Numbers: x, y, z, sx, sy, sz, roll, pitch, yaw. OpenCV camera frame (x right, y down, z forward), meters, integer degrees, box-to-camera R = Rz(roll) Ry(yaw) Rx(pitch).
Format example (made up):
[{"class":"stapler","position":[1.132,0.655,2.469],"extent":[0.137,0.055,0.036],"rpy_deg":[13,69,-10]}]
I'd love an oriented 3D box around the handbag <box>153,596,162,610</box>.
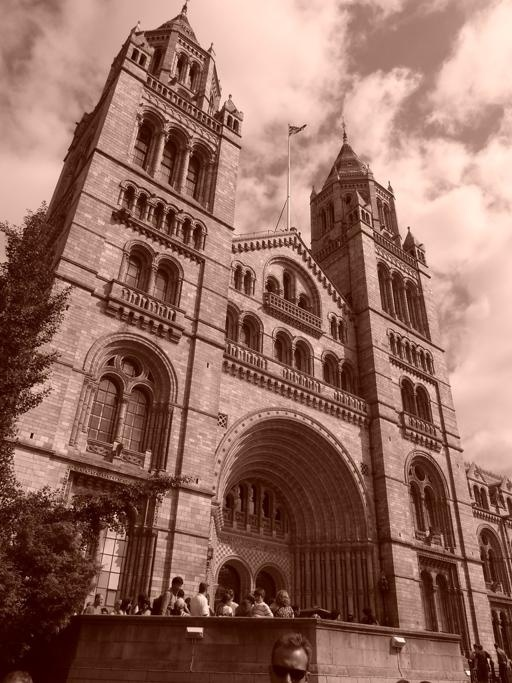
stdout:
[{"class":"handbag","position":[-2.059,5.531,11.171],"extent":[0.071,0.277,0.529],"rpy_deg":[14,-29,-17]}]
